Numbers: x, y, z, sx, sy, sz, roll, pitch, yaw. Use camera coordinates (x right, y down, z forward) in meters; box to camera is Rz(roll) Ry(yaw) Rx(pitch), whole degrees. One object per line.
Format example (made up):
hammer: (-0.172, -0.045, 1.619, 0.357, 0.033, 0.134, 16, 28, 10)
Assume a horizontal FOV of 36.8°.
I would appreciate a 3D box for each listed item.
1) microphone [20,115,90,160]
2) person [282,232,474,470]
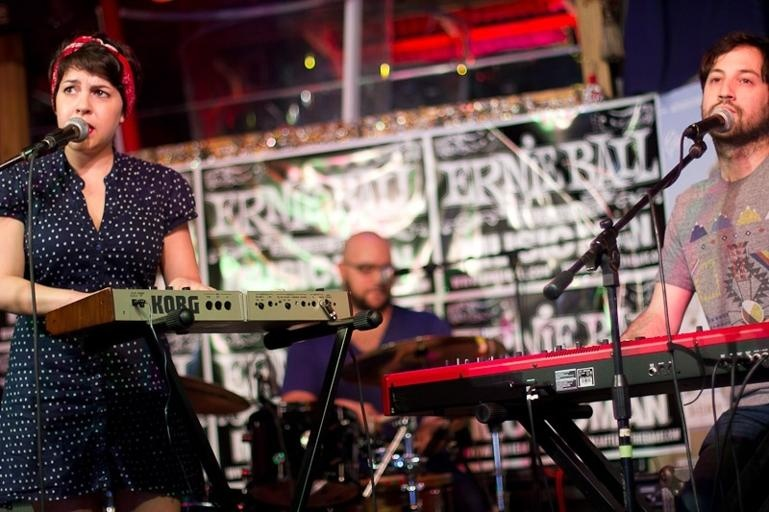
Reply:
microphone: (-1.358, -0.513, 4.909, 0.387, 0.111, 0.107, -35, -26, -50)
person: (-0.080, 0.763, 7.358, 1.260, 1.731, 1.155, -5, -34, 4)
